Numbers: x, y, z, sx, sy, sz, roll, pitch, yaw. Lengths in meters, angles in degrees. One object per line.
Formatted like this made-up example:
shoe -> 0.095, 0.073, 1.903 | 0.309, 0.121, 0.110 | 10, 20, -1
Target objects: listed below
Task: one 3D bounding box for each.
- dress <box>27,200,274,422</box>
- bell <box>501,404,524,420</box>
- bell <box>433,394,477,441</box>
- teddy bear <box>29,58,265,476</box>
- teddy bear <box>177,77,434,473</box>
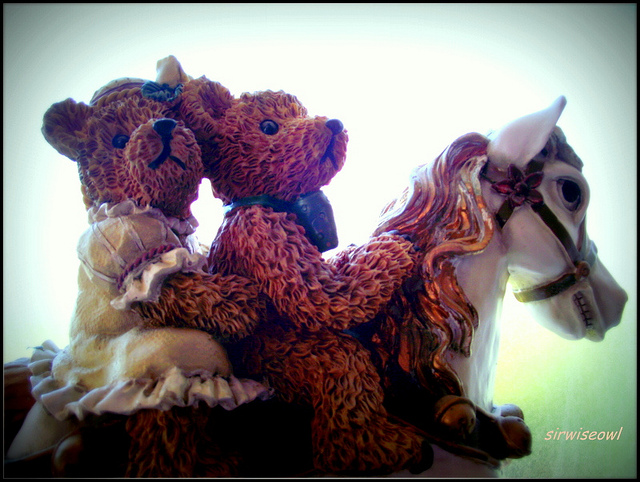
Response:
dress -> -0.502, 0.224, 1.746 | 0.561, 0.639, 0.656 | -1, -1, -27
bell -> 0.563, 0.494, 1.813 | 0.049, 0.033, 0.059 | 2, -2, 0
bell -> 0.353, 0.453, 1.611 | 0.094, 0.116, 0.093 | -1, -8, 8
teddy bear -> -0.479, 0.062, 1.602 | 0.585, 0.986, 0.314 | -7, 3, -8
teddy bear -> -0.040, 0.117, 1.771 | 0.594, 1.127, 0.596 | -5, 8, -18
